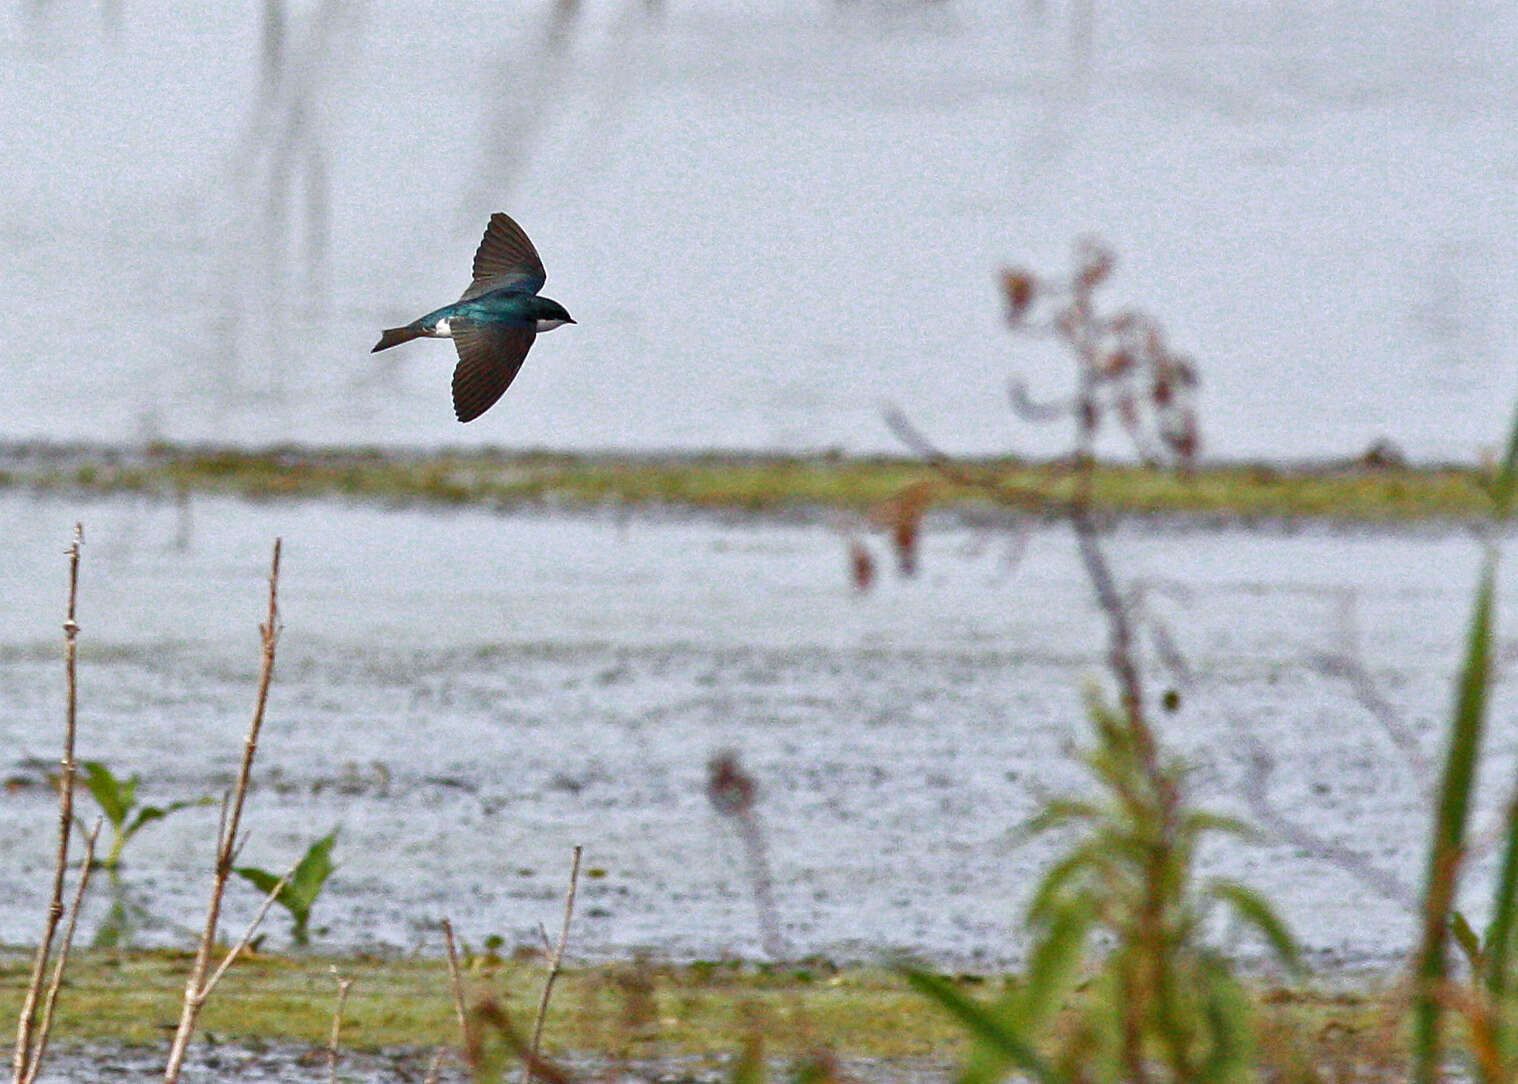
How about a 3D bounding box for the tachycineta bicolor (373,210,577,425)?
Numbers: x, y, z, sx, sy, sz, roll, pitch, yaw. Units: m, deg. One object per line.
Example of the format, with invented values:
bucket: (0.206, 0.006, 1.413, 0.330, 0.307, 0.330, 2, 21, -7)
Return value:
tachycineta bicolor: (-0.517, -0.422, 5.779, 0.390, 0.457, 0.154, -5, -33, 17)
